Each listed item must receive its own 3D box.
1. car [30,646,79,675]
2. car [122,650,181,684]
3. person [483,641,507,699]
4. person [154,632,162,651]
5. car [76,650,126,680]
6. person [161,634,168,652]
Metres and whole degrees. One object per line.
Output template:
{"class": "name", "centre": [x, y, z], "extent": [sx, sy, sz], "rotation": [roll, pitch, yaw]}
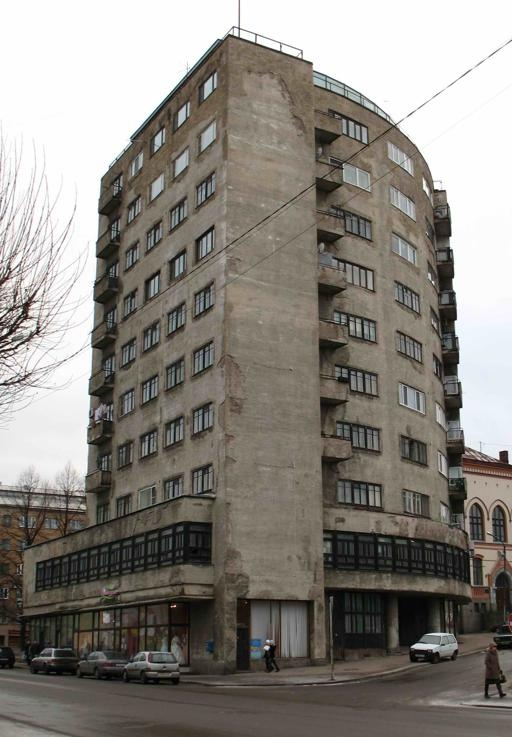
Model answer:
{"class": "car", "centre": [-10.203, 14.730, 44.268], "extent": [1.415, 1.123, 3.119], "rotation": [9, -19, -28]}
{"class": "car", "centre": [-4.031, 11.387, 33.518], "extent": [1.264, 1.019, 2.230], "rotation": [8, -19, -23]}
{"class": "person", "centre": [6.811, 8.773, 25.507], "extent": [0.554, 1.465, 3.200], "rotation": [-6, -18, 14]}
{"class": "person", "centre": [-4.704, 12.910, 41.380], "extent": [0.205, 0.790, 0.949], "rotation": [5, -18, -23]}
{"class": "car", "centre": [-6.857, 13.187, 38.878], "extent": [1.300, 0.976, 2.938], "rotation": [10, -21, -31]}
{"class": "person", "centre": [-4.307, 12.782, 40.682], "extent": [0.192, 0.675, 0.897], "rotation": [4, -18, -18]}
